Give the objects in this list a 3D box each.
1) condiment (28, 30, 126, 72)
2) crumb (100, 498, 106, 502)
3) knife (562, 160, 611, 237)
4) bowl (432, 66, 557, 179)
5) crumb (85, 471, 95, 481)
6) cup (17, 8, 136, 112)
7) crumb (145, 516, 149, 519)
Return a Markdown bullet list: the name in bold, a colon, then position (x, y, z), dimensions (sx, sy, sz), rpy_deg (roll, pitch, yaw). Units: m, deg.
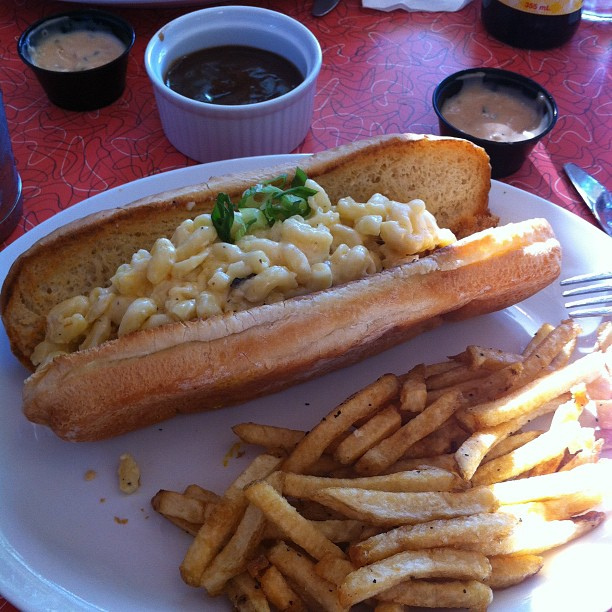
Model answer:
- **condiment**: position (-1.055, -1.197, 2.939), dimensions (0.267, 0.088, 0.378), rpy_deg (39, 60, 22)
- **crumb**: position (-0.615, 0.599, 1.942), dimensions (0.016, 0.002, 0.010), rpy_deg (-5, 54, -8)
- **knife**: position (1.235, -0.493, 2.767), dimensions (0.110, 0.032, 0.384), rpy_deg (-26, 39, 9)
- **bowl**: position (0.830, -0.834, 2.848), dimensions (0.615, 0.267, 0.514), rpy_deg (-3, 60, 1)
- **crumb**: position (-0.668, 0.535, 1.982), dimensions (0.026, 0.008, 0.028), rpy_deg (-1, 53, -5)
- **cup**: position (-1.049, -1.195, 2.954), dimensions (0.556, 0.254, 0.464), rpy_deg (-2, 63, -8)
- **crumb**: position (-0.476, 0.645, 1.919), dimensions (0.009, 0.015, 0.003), rpy_deg (-1, 94, 2)
